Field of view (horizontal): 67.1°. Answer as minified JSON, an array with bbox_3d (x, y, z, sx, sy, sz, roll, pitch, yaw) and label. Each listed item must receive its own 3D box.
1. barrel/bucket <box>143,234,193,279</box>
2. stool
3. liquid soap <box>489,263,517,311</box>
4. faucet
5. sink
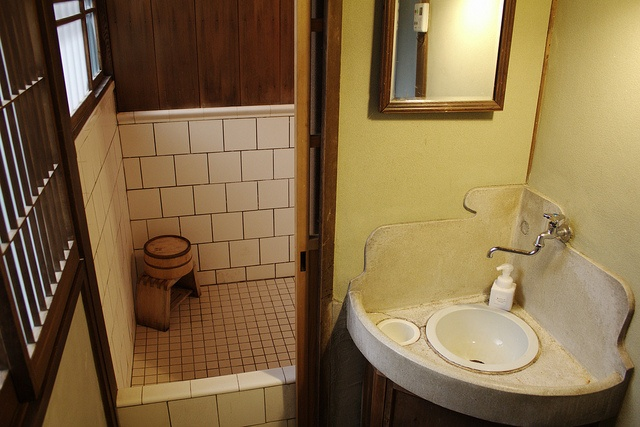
[{"bbox_3d":[-1.032,0.300,3.267,0.302,0.205,0.297,-1,23,0],"label":"barrel/bucket"},{"bbox_3d":[-1.070,0.526,3.369,0.256,0.310,0.447,11,21,13],"label":"stool"},{"bbox_3d":[0.862,0.325,2.255,0.103,0.217,0.150,9,26,22],"label":"liquid soap"},{"bbox_3d":[0.879,0.075,2.051,0.360,0.187,0.159,-18,25,-14],"label":"faucet"},{"bbox_3d":[0.703,0.586,2.117,0.482,0.175,0.391,5,24,12],"label":"sink"}]
